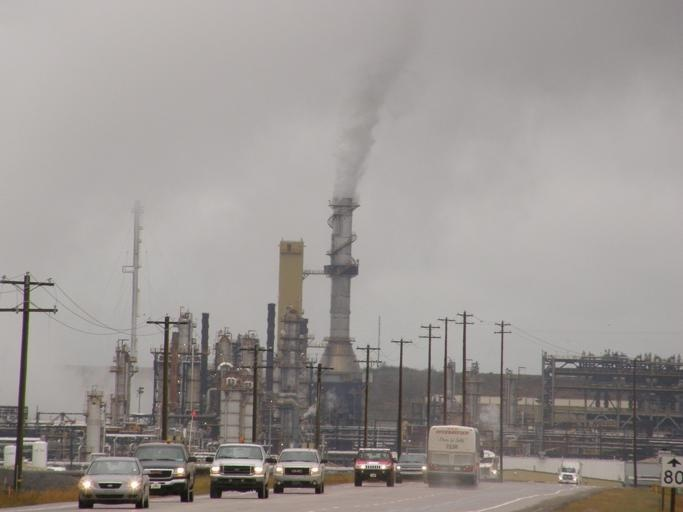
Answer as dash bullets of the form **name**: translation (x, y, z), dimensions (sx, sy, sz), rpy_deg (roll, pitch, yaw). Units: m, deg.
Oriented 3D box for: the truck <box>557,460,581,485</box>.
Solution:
- **truck**: translation (29.013, 27.280, 201.522), dimensions (2.893, 2.986, 5.417), rpy_deg (0, -10, 7)
